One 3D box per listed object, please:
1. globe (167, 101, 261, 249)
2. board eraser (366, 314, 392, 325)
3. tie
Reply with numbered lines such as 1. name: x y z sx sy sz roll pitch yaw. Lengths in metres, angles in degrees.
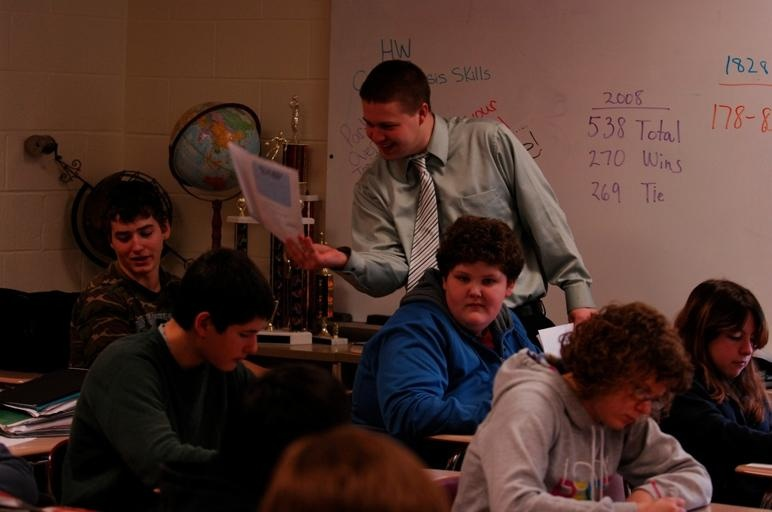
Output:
1. globe: -1.061 -0.404 4.431 0.502 1.134 0.500 -1 31 -11
2. board eraser: -0.049 0.382 4.119 0.096 0.050 0.101 1 3 -14
3. tie: 0.158 -0.142 2.918 0.134 0.552 0.208 0 6 4
